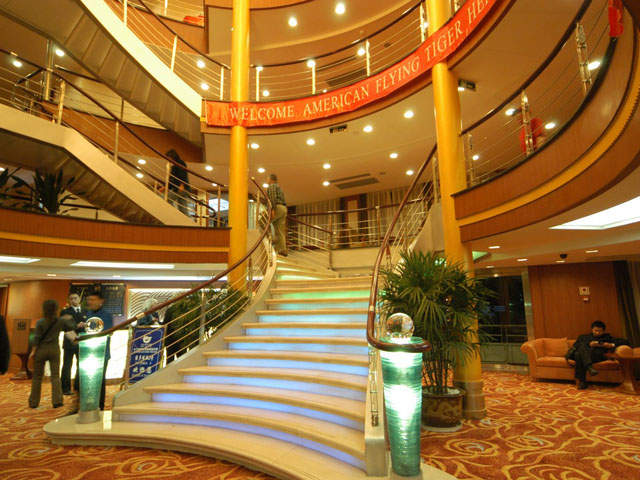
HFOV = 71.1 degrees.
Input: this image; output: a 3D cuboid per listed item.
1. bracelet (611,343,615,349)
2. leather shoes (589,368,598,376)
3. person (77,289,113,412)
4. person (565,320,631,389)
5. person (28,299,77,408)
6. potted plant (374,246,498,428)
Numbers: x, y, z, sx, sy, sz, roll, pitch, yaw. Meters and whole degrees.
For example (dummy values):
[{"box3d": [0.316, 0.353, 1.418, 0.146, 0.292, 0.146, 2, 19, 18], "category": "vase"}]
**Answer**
[{"box3d": [5.472, 1.979, 8.371, 0.080, 0.101, 0.044, 13, -25, -25], "category": "bracelet"}, {"box3d": [5.110, 2.437, 8.350, 0.240, 0.133, 0.113, 2, -5, -41], "category": "leather shoes"}, {"box3d": [-3.763, 1.861, 7.456, 0.558, 2.008, 0.507, 1, 1, -4], "category": "person"}, {"box3d": [5.251, 2.180, 8.550, 0.944, 1.178, 0.696, -1, -4, 4], "category": "person"}, {"box3d": [-4.410, 1.856, 7.338, 0.562, 1.713, 0.302, 1, -4, -27], "category": "person"}, {"box3d": [1.678, 1.355, 6.235, 1.644, 2.409, 0.760, 1, -4, -32], "category": "potted plant"}]
